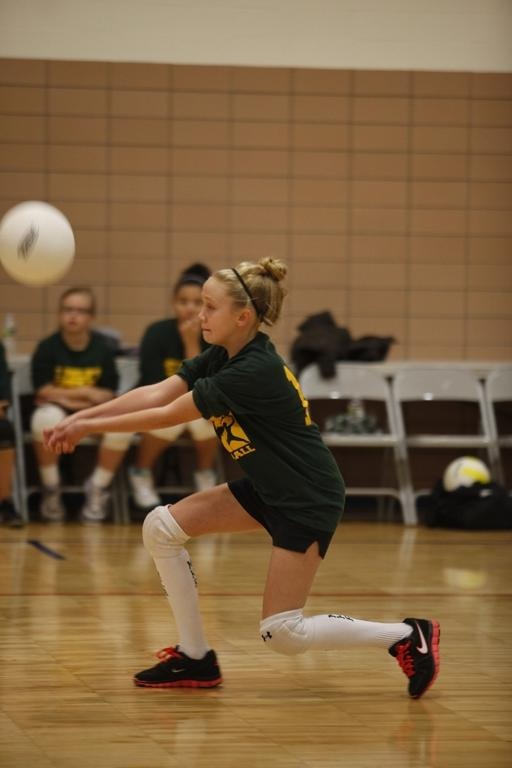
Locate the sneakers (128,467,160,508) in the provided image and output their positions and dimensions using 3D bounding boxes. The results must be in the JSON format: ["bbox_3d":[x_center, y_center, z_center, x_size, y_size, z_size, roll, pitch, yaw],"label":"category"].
[{"bbox_3d":[-0.317,0.297,2.147,0.060,0.144,0.062,-15,-37,-23],"label":"sneakers"}]

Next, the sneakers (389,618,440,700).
[{"bbox_3d":[0.258,0.443,1.263,0.076,0.135,0.049,5,-40,-8],"label":"sneakers"}]

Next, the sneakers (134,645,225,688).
[{"bbox_3d":[-0.126,0.475,1.288,0.162,0.061,0.056,1,-9,-2],"label":"sneakers"}]

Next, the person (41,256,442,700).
[{"bbox_3d":[-0.015,0.160,1.262,0.650,0.696,0.243,2,-3,-17],"label":"person"}]
